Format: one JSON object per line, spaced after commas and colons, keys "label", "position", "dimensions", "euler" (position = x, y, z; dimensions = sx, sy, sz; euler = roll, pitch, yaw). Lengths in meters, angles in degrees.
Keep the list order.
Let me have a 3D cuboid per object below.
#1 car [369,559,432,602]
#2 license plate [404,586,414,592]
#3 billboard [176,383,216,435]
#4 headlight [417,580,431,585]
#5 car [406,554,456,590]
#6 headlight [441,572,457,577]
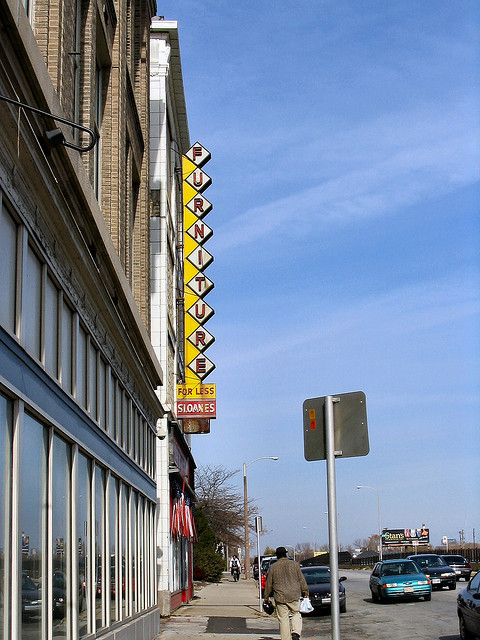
{"label": "car", "position": [4.275, 7.008, 28.140], "dimensions": [1.373, 1.408, 2.458], "euler": [-5, -20, 1]}
{"label": "license plate", "position": [4.319, 6.926, 26.912], "dimensions": [0.243, 0.132, 0.035], "euler": [-6, -15, 1]}
{"label": "billboard", "position": [-1.189, 2.307, 27.869], "dimensions": [1.049, 0.179, 1.729], "euler": [-1, -58, -4]}
{"label": "headlight", "position": [4.769, 6.805, 27.191], "dimensions": [0.191, 0.138, 0.574], "euler": [-18, -23, 31]}
{"label": "car", "position": [6.234, 7.922, 33.811], "dimensions": [1.018, 1.096, 2.930], "euler": [-1, -21, -2]}
{"label": "headlight", "position": [6.513, 8.014, 32.957], "dimensions": [0.612, 0.154, 0.126], "euler": [8, -22, -34]}
